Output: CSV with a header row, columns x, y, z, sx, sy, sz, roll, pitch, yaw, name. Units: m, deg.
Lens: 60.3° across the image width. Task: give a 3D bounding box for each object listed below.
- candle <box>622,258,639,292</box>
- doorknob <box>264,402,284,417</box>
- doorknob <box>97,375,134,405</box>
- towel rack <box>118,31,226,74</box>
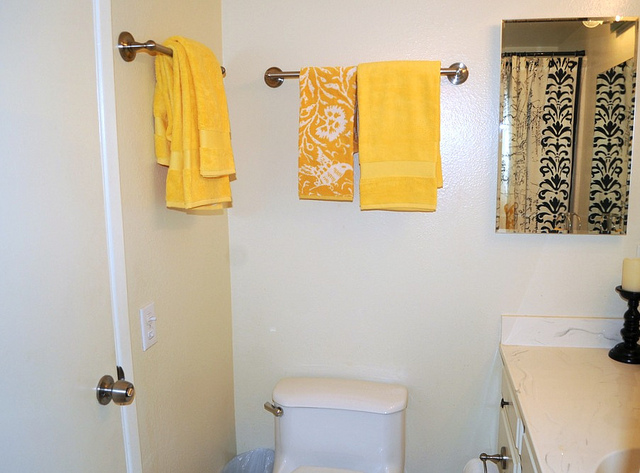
x,y,z,sx,sy,sz,roll,pitch,yaw,name
1.120,0.139,1.976,0.053,0.108,0.044,4,11,27,candle
-0.177,0.682,2.164,0.070,0.045,0.030,13,-24,16,doorknob
-0.596,0.457,1.625,0.094,0.093,0.100,2,-2,-1,doorknob
-0.507,-0.548,1.587,0.075,0.081,0.217,-27,31,-33,towel rack
